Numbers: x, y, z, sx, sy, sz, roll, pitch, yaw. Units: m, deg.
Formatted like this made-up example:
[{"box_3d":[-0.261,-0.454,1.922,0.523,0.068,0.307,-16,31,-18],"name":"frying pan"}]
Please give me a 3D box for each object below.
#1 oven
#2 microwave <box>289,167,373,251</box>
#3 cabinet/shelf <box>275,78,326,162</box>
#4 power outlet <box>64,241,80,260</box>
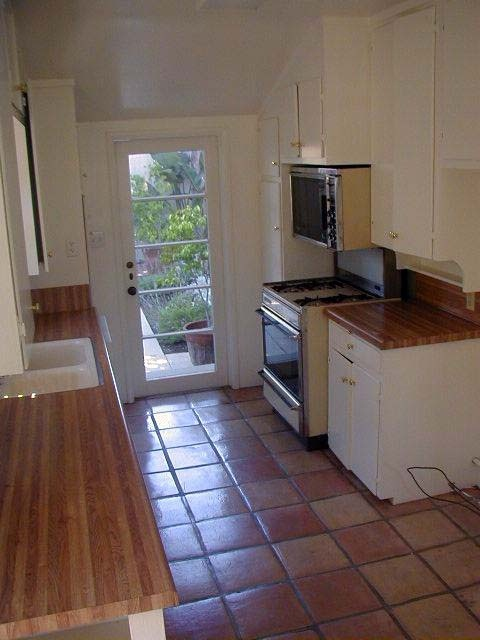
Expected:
[{"box_3d":[0.326,0.335,3.176,0.348,0.700,0.675,-4,16,-14],"name":"oven"},{"box_3d":[0.529,-0.648,2.879,0.266,0.368,0.515,-4,16,-12],"name":"microwave"},{"box_3d":[0.358,-1.169,2.933,0.166,0.481,0.530,-6,20,-13],"name":"cabinet/shelf"},{"box_3d":[-1.080,-0.455,3.254,0.096,0.146,0.016,-3,12,-16],"name":"power outlet"}]
